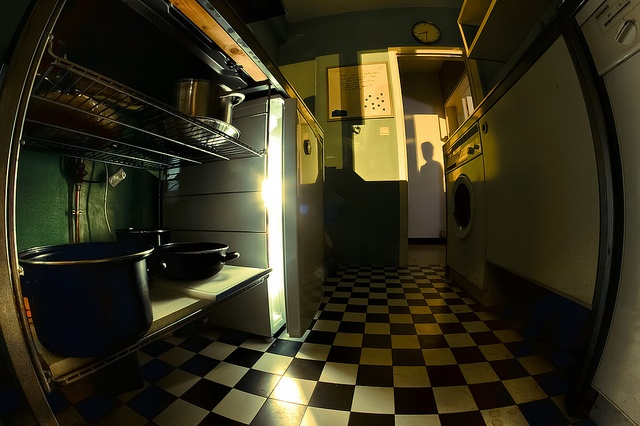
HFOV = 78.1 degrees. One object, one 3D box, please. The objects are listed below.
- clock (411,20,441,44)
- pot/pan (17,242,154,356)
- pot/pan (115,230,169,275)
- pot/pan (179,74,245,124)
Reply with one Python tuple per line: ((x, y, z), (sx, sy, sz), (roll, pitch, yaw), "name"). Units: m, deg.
((0.982, -1.689, 3.683), (0.229, 0.220, 0.021), (0, -8, -7), "clock")
((-0.817, 0.305, 1.504), (0.378, 0.311, 0.423), (-2, -3, 7), "pot/pan")
((-0.801, 0.154, 1.757), (0.239, 0.177, 0.207), (0, 0, -4), "pot/pan")
((-0.566, -0.511, 1.808), (0.318, 0.160, 0.235), (5, 6, -24), "pot/pan")
